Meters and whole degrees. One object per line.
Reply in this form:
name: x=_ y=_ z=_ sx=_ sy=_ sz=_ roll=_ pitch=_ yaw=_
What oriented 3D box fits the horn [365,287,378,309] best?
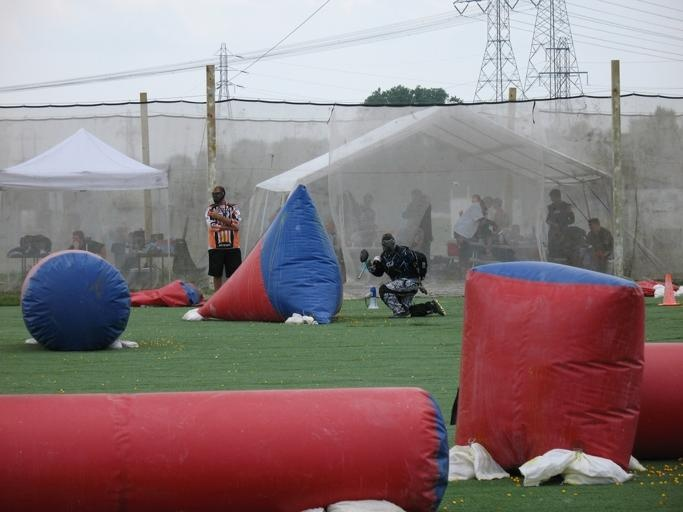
horn: x=0.413 y=0.497 z=16.270 sx=0.178 sy=0.312 sz=0.213 roll=1 pitch=-3 yaw=-4

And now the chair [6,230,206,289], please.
chair: x=-2.997 y=-0.019 z=17.839 sx=2.405 sy=0.631 sz=0.557 roll=4 pitch=-2 yaw=-9

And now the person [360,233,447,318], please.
person: x=0.688 y=0.217 z=14.976 sx=0.872 sy=1.009 sz=0.414 roll=-1 pitch=-12 yaw=-7

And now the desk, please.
desk: x=1.967 y=-0.093 z=17.427 sx=1.244 sy=0.419 sz=0.327 roll=3 pitch=-1 yaw=17

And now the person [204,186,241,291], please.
person: x=-1.382 y=-0.238 z=15.582 sx=0.412 sy=0.931 sz=0.558 roll=3 pitch=-1 yaw=-4

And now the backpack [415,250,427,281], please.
backpack: x=0.874 y=0.084 z=15.062 sx=0.209 sy=0.449 sz=0.290 roll=0 pitch=1 yaw=1
